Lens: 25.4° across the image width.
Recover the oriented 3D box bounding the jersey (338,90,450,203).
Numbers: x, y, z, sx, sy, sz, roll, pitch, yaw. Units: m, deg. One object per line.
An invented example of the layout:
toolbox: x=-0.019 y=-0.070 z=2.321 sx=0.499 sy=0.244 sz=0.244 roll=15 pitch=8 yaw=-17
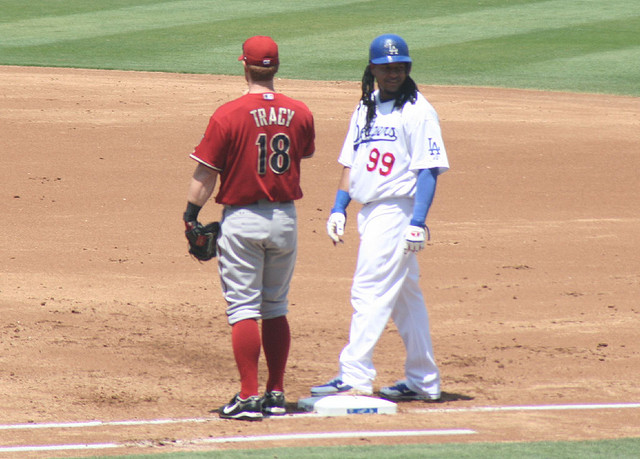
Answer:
jersey: x=0.850 y=-0.930 z=16.221 sx=0.859 sy=1.333 sz=1.858 roll=-9 pitch=14 yaw=-35

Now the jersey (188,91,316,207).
jersey: x=-0.745 y=-0.896 z=15.788 sx=1.337 sy=1.259 sz=0.441 roll=0 pitch=11 yaw=-4

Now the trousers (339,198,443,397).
trousers: x=0.786 y=0.779 z=16.067 sx=1.181 sy=2.271 sz=0.537 roll=-1 pitch=12 yaw=-12

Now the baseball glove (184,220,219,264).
baseball glove: x=-1.359 y=0.122 z=15.964 sx=0.350 sy=0.420 sz=0.404 roll=11 pitch=25 yaw=19
